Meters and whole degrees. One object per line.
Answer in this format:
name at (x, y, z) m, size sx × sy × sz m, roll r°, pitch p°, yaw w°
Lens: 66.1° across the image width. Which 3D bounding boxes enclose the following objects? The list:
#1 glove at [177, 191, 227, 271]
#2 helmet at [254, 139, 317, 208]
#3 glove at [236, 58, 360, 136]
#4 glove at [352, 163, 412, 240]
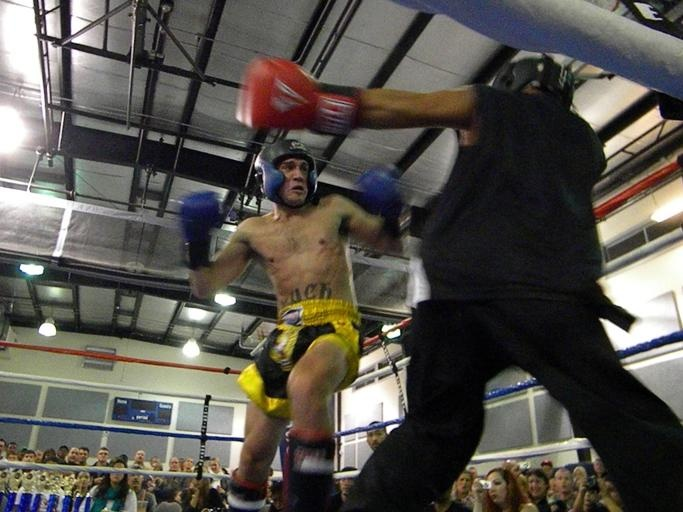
glove at (-0.526, -0.093, 2.053) m, size 0.168 × 0.294 × 0.130 m, roll -1°, pitch -6°, yaw 39°
helmet at (-0.303, -0.353, 2.346) m, size 0.258 × 0.277 × 0.294 m, roll 10°, pitch -31°, yaw -24°
glove at (-0.092, -0.316, 1.065) m, size 0.218 × 0.092 × 0.164 m, roll 4°, pitch -11°, yaw -5°
glove at (0.181, -0.210, 2.013) m, size 0.188 × 0.113 × 0.250 m, roll -42°, pitch -60°, yaw 10°
